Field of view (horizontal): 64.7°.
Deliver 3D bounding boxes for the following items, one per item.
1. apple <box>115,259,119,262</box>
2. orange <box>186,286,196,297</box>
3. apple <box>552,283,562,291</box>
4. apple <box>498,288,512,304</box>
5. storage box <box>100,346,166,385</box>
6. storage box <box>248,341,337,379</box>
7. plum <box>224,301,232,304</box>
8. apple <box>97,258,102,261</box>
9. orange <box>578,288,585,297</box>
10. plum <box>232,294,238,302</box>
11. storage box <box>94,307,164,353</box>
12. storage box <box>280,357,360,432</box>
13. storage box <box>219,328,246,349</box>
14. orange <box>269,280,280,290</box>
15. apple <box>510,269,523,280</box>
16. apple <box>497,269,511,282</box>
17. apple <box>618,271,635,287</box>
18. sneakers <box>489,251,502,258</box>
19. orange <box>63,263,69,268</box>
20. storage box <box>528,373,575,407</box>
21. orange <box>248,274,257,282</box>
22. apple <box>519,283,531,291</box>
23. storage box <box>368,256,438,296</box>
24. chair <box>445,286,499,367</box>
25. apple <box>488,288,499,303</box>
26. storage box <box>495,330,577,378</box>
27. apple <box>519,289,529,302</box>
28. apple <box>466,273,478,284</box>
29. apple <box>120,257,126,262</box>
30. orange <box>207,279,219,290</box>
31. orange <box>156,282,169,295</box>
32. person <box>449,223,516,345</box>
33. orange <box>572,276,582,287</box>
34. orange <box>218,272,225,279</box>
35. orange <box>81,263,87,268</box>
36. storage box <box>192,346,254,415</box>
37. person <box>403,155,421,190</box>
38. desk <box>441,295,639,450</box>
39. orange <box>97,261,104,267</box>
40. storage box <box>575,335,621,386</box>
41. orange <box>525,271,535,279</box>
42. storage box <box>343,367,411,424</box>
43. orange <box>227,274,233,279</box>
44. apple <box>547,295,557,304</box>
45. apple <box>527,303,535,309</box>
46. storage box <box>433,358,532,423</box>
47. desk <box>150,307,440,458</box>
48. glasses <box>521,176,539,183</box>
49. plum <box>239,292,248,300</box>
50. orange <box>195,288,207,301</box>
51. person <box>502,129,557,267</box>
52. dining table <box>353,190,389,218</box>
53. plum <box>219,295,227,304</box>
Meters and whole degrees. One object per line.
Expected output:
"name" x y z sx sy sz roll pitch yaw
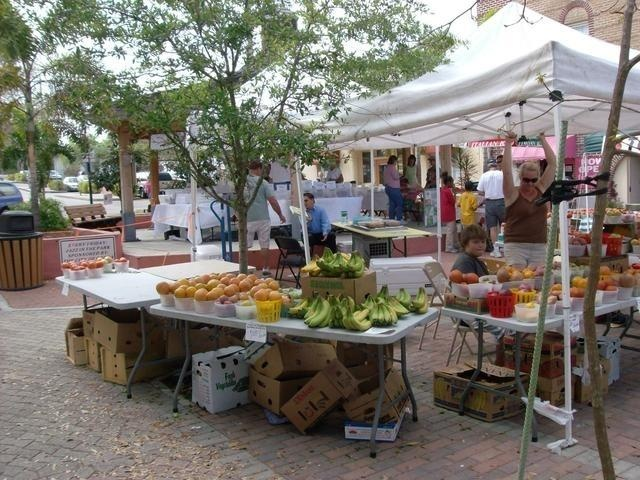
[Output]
"apple" -3.154 0.312 7.820 0.071 0.026 0.070 -6 4 -39
"orange" -1.281 0.524 5.023 0.085 0.093 0.122 -4 8 -15
"apple" 2.265 0.454 4.824 0.089 0.096 0.086 4 -7 6
"apple" 1.691 0.504 4.572 0.112 0.103 0.108 -2 0 -1
"storage box" -2.134 1.449 6.127 0.855 0.406 0.812 -3 -19 -21
"storage box" -0.271 1.240 5.190 0.853 0.344 0.603 14 -40 -45
"plum" -0.875 0.592 4.799 0.034 0.023 0.043 1 2 -22
"apple" -3.308 0.289 7.558 0.057 0.027 0.054 0 2 -4
"orange" 2.450 0.492 4.735 0.040 0.075 0.095 2 9 23
"plum" -0.823 0.561 4.871 0.053 0.046 0.050 -2 -6 32
"storage box" -2.203 1.068 5.934 0.893 0.308 0.489 8 12 43
"storage box" 0.017 1.487 4.652 0.507 0.315 0.273 -36 -38 23
"storage box" -1.105 1.199 6.182 0.263 0.061 0.239 9 14 27
"orange" -0.441 0.440 4.966 0.090 0.083 0.102 -13 -18 -19
"apple" 1.942 0.351 5.025 0.092 0.062 0.115 -16 9 -6
"apple" 1.794 0.353 5.014 0.131 0.144 0.127 2 4 -29
"apple" 3.130 0.410 5.159 0.137 0.126 0.189 4 9 33
"sneakers" 2.871 0.236 8.211 0.121 0.087 0.215 -2 -1 -5
"orange" -3.513 0.350 6.955 0.080 0.040 0.076 0 2 -8
"storage box" 2.245 1.427 4.906 0.343 0.300 0.285 -1 0 -40
"orange" -0.715 0.395 5.280 0.083 0.065 0.069 7 -18 -36
"apple" 1.912 0.436 4.725 0.084 0.043 0.084 2 2 34
"storage box" 1.401 0.672 9.249 1.431 0.586 1.093 -2 0 -3
"chair" 1.845 1.038 5.929 0.600 0.795 0.476 -25 -30 37
"apple" 1.582 0.505 4.631 0.104 0.080 0.112 -2 6 5
"storage box" 2.420 1.218 5.237 0.906 0.418 0.895 2 -10 -2
"apple" 1.851 0.514 4.615 0.086 0.066 0.095 -1 2 3
"apple" 1.475 0.364 4.912 0.108 0.079 0.083 19 27 33
"apple" -3.054 0.302 7.797 0.107 0.051 0.103 2 2 -20
"orange" -1.104 0.455 5.207 0.115 0.091 0.093 -11 35 -27
"orange" -1.598 0.500 5.197 0.141 0.101 0.075 -1 -8 -36
"person" 1.777 0.346 5.604 0.532 0.911 0.528 -4 -6 -13
"orange" 2.487 0.408 4.902 0.085 0.084 0.090 8 2 21
"orange" -1.098 0.398 5.597 0.066 0.038 0.049 -29 16 -10
"orange" -3.228 0.335 6.891 0.081 0.041 0.080 8 13 25
"storage box" -1.049 1.467 5.310 0.422 0.455 0.547 -2 -4 39
"person" 3.300 -2.124 18.223 0.524 1.702 0.505 3 13 28
"desk" 2.035 1.497 4.922 2.200 1.005 1.165 -5 6 -35
"orange" -3.009 0.335 6.896 0.079 0.066 0.075 0 1 -5
"storage box" 3.012 1.341 5.586 0.514 0.414 0.481 -10 -4 34
"orange" 2.092 0.363 5.068 0.094 0.040 0.089 -8 13 1
"storage box" 0.540 1.432 4.612 0.519 0.309 0.513 -17 6 14
"orange" -0.987 0.395 5.513 0.032 0.053 0.058 7 7 22
"apple" 2.105 0.540 4.571 0.074 0.068 0.072 -10 11 -28
"apple" 1.858 0.573 4.432 0.064 0.030 0.058 1 8 17
"storage box" 1.615 1.518 5.124 0.620 0.358 0.797 -1 -2 -29
"desk" 0.159 0.810 4.727 2.532 1.062 1.281 3 6 31
"glasses" 2.385 -0.682 5.759 0.173 0.060 0.086 1 8 20
"plum" -0.743 0.544 4.912 0.060 0.026 0.058 -5 12 -24
"orange" -1.152 0.532 4.875 0.093 0.082 0.117 -2 -2 -8
"person" 2.381 -0.424 5.811 0.525 1.511 1.037 3 9 27
"dining table" 1.865 -1.337 18.167 1.052 0.719 1.014 2 7 18
"plum" -0.928 0.572 4.819 0.073 0.059 0.102 -3 8 -11
